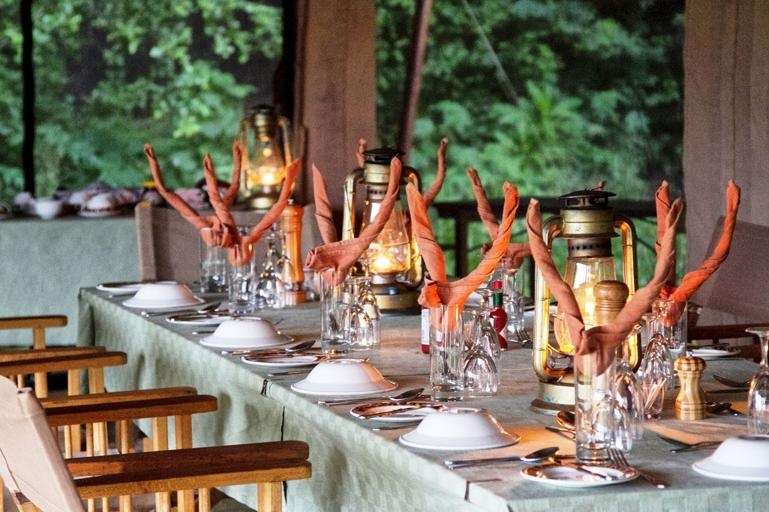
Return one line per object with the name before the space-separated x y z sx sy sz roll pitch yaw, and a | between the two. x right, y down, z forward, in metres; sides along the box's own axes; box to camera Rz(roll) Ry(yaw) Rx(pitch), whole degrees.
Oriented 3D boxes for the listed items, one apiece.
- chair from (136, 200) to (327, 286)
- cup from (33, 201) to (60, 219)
chair | -0.635 -0.043 3.682 0.487 0.308 0.251 -2 3 -20
cup | -1.687 -0.238 4.694 0.133 0.108 0.095 -6 3 -18
